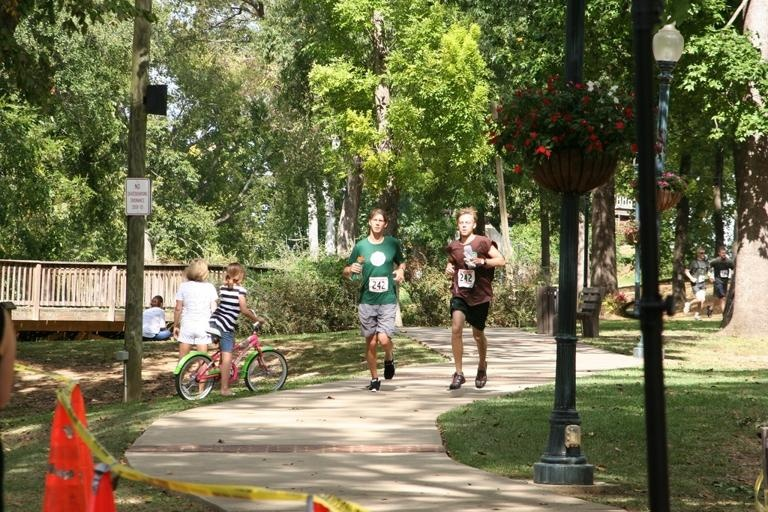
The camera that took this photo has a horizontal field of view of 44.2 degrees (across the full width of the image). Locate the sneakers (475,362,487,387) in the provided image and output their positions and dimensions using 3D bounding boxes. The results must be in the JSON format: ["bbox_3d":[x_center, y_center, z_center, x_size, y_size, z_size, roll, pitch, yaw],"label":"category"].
[{"bbox_3d":[1.668,2.023,16.086,0.159,0.456,0.189,3,4,14],"label":"sneakers"}]

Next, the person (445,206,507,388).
[{"bbox_3d":[1.465,0.758,15.639,0.851,3.106,0.896,0,6,3],"label":"person"}]

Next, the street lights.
[{"bbox_3d":[2.207,-1.054,7.998,0.471,3.810,0.479,3,-33,12],"label":"street lights"}]

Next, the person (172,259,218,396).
[{"bbox_3d":[-3.472,1.146,17.293,0.755,2.405,0.750,-2,21,-21],"label":"person"}]

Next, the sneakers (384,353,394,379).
[{"bbox_3d":[0.072,1.951,16.625,0.150,0.461,0.193,3,10,20],"label":"sneakers"}]

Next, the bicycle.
[{"bbox_3d":[-2.709,1.836,16.975,2.218,1.402,0.992,1,8,-38],"label":"bicycle"}]

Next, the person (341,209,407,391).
[{"bbox_3d":[-0.138,0.784,15.950,0.927,3.127,1.017,0,6,1],"label":"person"}]

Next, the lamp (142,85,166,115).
[{"bbox_3d":[-4.187,-2.881,17.370,0.474,0.540,0.277,4,7,37],"label":"lamp"}]

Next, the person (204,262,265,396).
[{"bbox_3d":[-2.644,1.261,16.538,0.823,2.292,0.723,-1,6,-11],"label":"person"}]

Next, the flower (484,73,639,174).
[{"bbox_3d":[2.635,-1.609,12.167,1.150,0.786,1.075,6,-4,12],"label":"flower"}]
